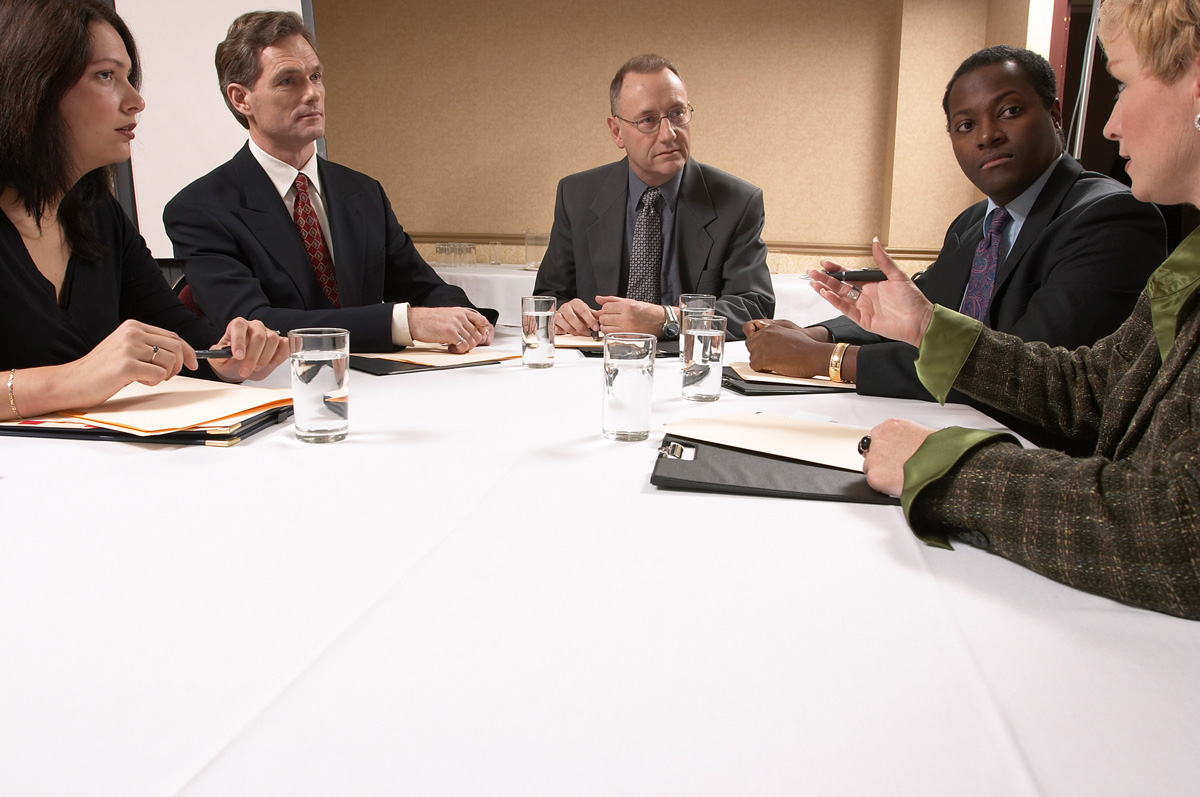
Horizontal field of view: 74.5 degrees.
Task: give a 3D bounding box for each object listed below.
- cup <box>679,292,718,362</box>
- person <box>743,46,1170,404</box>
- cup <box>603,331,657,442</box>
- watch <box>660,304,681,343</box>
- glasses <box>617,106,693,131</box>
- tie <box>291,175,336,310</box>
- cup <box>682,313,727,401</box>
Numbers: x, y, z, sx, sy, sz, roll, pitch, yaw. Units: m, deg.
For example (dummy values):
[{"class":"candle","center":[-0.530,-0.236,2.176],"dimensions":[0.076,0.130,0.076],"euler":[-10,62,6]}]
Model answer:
[{"class":"cup","center":[0.232,-0.179,1.917],"dimensions":[0.109,0.148,0.108],"euler":[4,-23,2]},{"class":"person","center":[0.644,-0.448,2.177],"dimensions":[1.229,1.007,0.817],"euler":[-1,3,-17]},{"class":"cup","center":[0.039,-0.016,1.425],"dimensions":[0.149,0.179,0.150],"euler":[1,3,0]},{"class":"watch","center":[0.215,-0.235,2.419],"dimensions":[0.067,0.092,0.036],"euler":[0,-9,-8]},{"class":"glasses","center":[0.195,-1.027,2.914],"dimensions":[0.280,0.105,0.196],"euler":[1,15,0]},{"class":"tie","center":[-0.928,-0.514,2.587],"dimensions":[0.100,0.454,0.053],"euler":[-14,-5,-10]},{"class":"cup","center":[0.212,-0.087,1.681],"dimensions":[0.113,0.182,0.116],"euler":[0,-1,0]}]
